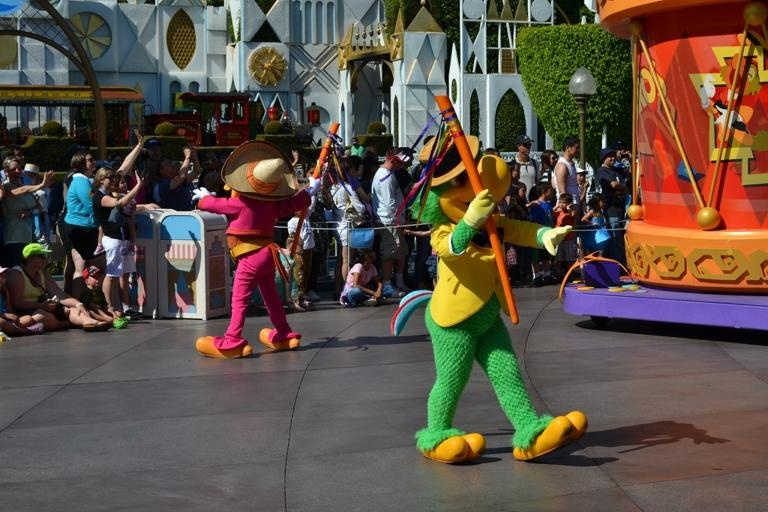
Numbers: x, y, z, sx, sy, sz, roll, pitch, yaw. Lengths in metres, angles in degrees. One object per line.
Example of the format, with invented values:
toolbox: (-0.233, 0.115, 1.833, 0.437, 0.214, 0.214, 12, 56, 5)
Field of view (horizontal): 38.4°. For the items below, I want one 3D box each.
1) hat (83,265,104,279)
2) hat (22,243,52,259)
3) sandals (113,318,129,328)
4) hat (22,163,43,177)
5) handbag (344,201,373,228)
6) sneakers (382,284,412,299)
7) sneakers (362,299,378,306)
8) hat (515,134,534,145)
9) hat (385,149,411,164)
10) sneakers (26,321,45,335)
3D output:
hat: (-3.850, 0.207, 14.488, 0.250, 0.162, 0.202, 0, 13, 5)
hat: (-4.430, -0.081, 14.060, 0.319, 0.202, 0.247, -12, 12, -24)
sandals: (-3.416, 0.859, 14.302, 0.182, 0.111, 0.194, 6, 15, 26)
hat: (-5.087, -1.260, 15.905, 0.346, 0.159, 0.439, 5, 4, -12)
handbag: (-0.321, -0.605, 15.965, 0.417, 0.552, 0.301, 4, 18, 15)
sneakers: (0.213, 0.517, 16.336, 0.438, 0.238, 0.159, -2, 3, -1)
sneakers: (-0.175, 0.643, 15.616, 0.217, 0.088, 0.165, -4, 10, -10)
hat: (2.272, -1.893, 17.921, 0.196, 0.180, 0.279, -2, -6, -33)
hat: (0.219, -1.427, 15.585, 0.337, 0.108, 0.206, 8, 8, 29)
sneakers: (-4.409, 0.922, 13.948, 0.219, 0.092, 0.108, -1, 10, 11)
